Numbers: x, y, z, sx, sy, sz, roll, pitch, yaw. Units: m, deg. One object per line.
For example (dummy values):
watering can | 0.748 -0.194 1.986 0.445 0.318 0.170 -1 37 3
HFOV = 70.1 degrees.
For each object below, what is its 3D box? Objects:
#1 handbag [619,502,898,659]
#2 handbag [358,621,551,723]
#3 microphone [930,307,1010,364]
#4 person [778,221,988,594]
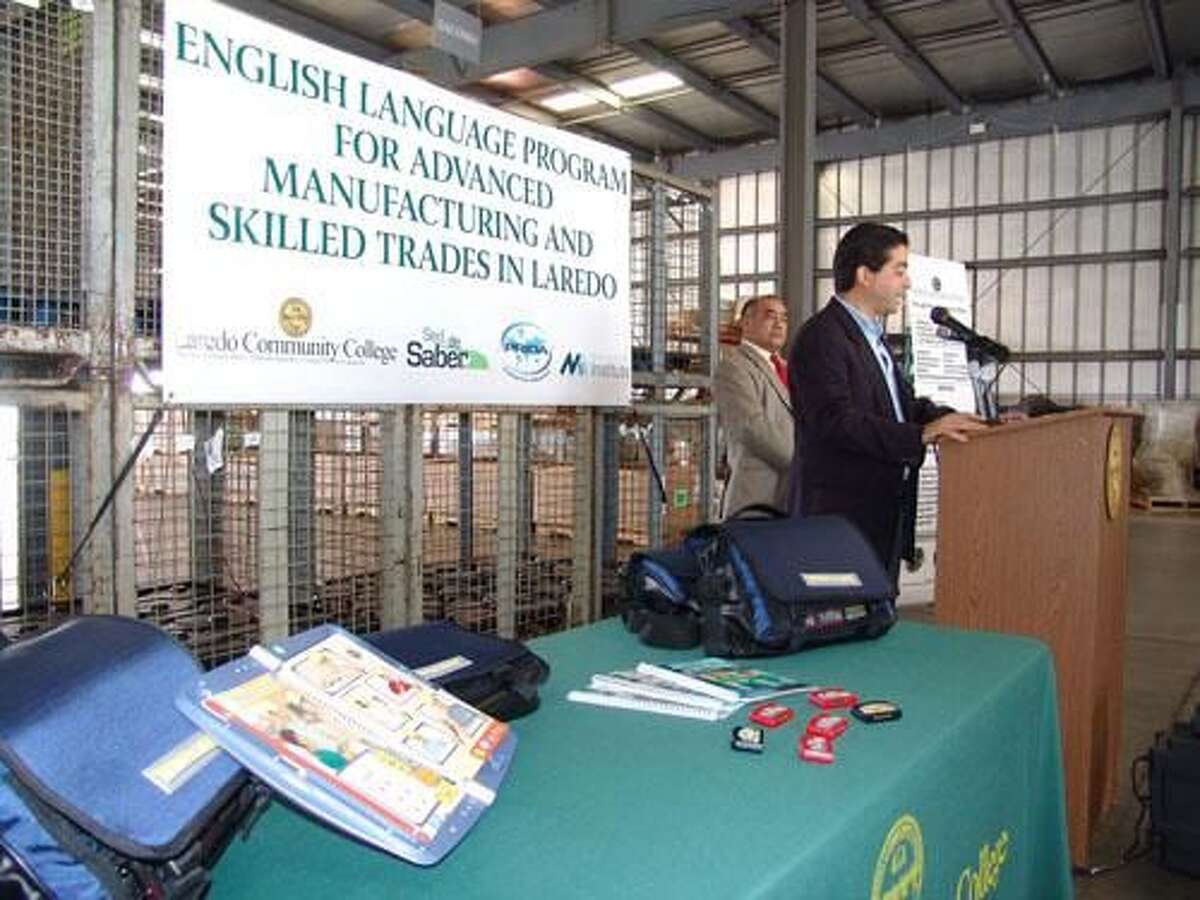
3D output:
handbag | 0.318 0.298 1.845 0.389 0.224 0.347 3 -8 -38
handbag | -0.234 0.364 1.477 0.199 0.062 0.183 19 2 25
microphone | 1.275 -0.393 2.982 0.080 0.109 0.304 -3 42 -41
person | 0.980 0.078 3.114 0.588 1.700 0.596 -6 11 -36
